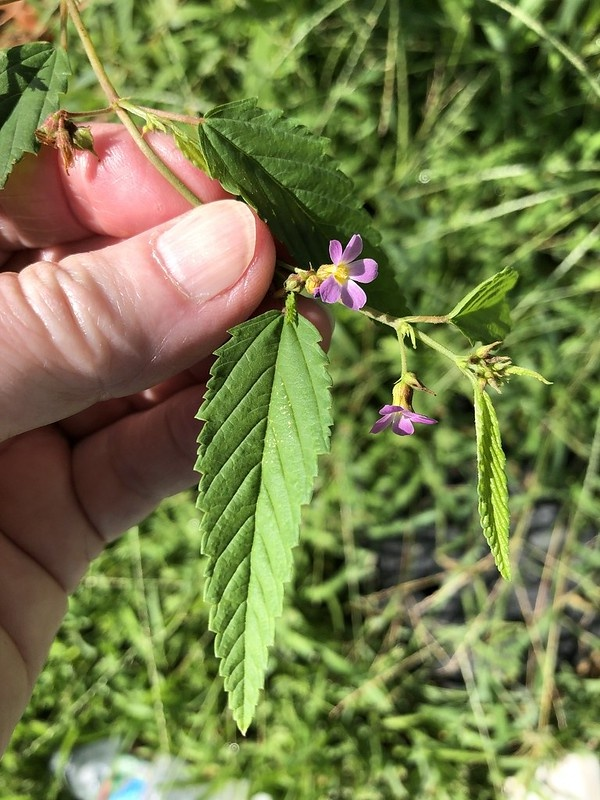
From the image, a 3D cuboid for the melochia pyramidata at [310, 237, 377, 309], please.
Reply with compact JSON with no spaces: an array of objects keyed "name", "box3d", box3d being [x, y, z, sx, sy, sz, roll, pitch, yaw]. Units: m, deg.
[{"name":"melochia pyramidata","box3d":[0.107,-0.331,1.899,0.159,0.252,0.134,-13,46,-13]}]
